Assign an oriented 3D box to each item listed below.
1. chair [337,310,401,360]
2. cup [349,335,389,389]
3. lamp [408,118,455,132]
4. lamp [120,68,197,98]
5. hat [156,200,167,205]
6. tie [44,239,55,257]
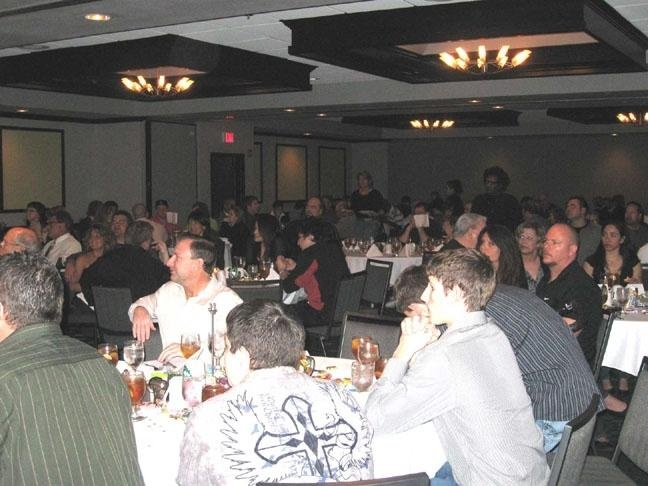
[{"bbox_3d":[0.299,0.549,3.499,0.285,0.548,0.322,0,-6,22],"label":"chair"},{"bbox_3d":[0.215,0.577,2.704,0.200,0.236,0.591,0,-5,0],"label":"cup"},{"bbox_3d":[2.650,-2.877,13.586,0.761,0.267,0.756,0,-1,-27],"label":"lamp"},{"bbox_3d":[-2.184,-2.116,7.359,0.886,0.303,0.390,-2,5,-5],"label":"lamp"},{"bbox_3d":[-2.804,-0.696,9.643,0.182,0.061,0.189,1,8,0],"label":"hat"},{"bbox_3d":[-3.156,0.059,6.404,0.147,0.193,0.071,-12,-31,33],"label":"tie"}]
